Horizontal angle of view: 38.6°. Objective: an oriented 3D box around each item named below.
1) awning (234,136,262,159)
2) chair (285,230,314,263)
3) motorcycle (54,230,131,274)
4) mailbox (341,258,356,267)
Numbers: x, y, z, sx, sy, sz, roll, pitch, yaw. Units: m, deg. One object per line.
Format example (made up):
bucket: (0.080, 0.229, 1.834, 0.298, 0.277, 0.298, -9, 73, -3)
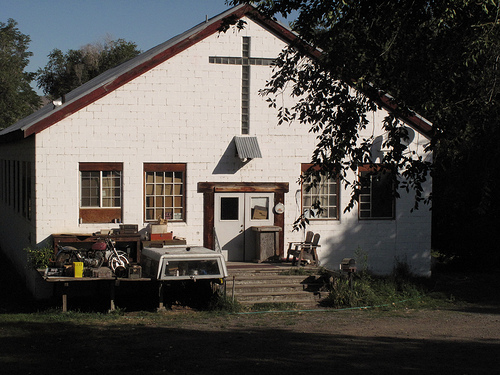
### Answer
awning: (-0.059, -1.450, 25.591, 0.775, 0.867, 0.199, -1, -16, -14)
chair: (1.851, 2.128, 25.880, 0.976, 1.493, 1.050, 2, -2, -17)
motorcycle: (-5.179, 2.097, 23.603, 2.379, 1.463, 1.190, 3, -11, -11)
mailbox: (3.461, 2.613, 24.871, 0.446, 0.262, 0.417, 1, 4, 7)
